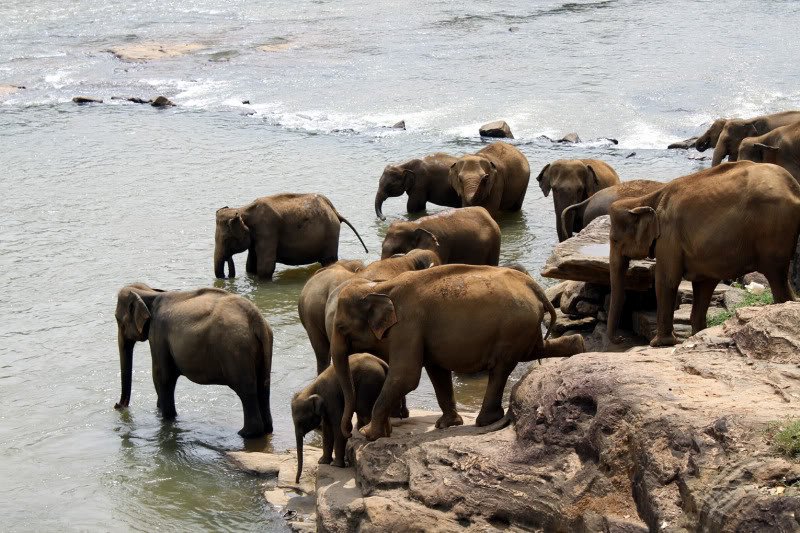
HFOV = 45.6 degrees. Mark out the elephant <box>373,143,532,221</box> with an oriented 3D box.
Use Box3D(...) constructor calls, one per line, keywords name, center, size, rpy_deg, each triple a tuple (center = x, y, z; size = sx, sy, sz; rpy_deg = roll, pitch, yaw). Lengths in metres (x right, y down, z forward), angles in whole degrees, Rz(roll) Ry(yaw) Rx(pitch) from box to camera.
Box3D(name="elephant", center=(0.882, -1.324, 16.000), size=(2.880, 1.457, 1.203), rpy_deg=(-4, 25, 13))
